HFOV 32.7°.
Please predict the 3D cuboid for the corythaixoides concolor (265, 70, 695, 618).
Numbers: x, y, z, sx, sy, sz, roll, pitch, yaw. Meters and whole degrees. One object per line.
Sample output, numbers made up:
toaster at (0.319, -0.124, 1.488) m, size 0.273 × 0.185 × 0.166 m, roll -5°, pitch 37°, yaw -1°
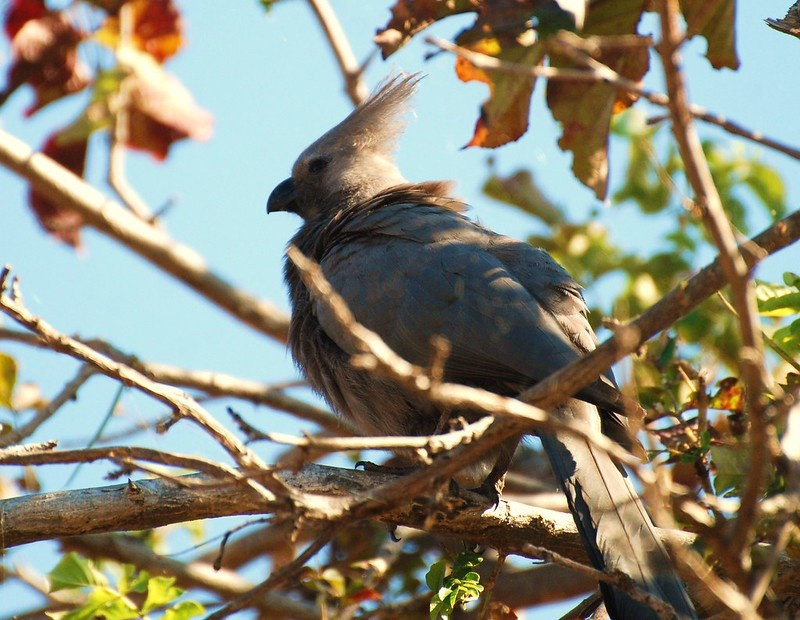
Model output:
corythaixoides concolor at (0.254, 0.051, 7.061) m, size 1.714 × 3.811 × 1.029 m, roll -2°, pitch -55°, yaw -5°
